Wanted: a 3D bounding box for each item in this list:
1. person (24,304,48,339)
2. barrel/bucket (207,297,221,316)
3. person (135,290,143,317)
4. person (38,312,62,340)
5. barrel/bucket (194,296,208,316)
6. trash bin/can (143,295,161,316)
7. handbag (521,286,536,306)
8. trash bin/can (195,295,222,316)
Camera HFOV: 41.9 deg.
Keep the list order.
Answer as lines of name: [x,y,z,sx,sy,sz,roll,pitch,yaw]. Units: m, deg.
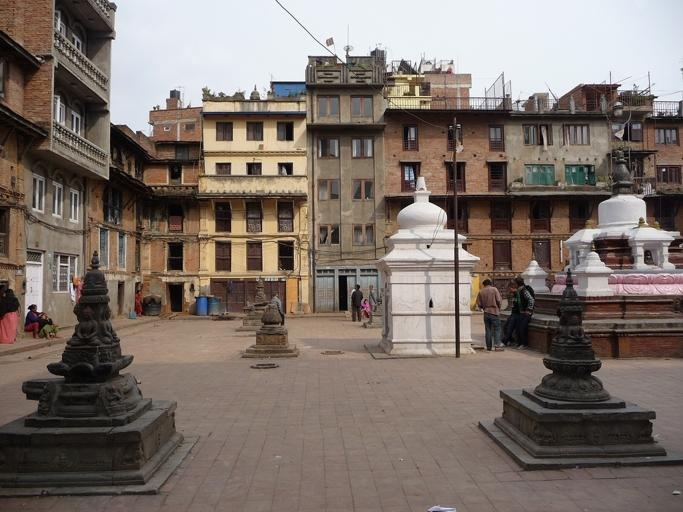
person: [-10.892,2.301,31.749,0.861,1.184,0.845,-1,-1,5]
barrel/bucket: [-6.857,2.661,46.849,0.820,0.925,0.833,-1,-7,0]
person: [-10.357,2.424,45.563,0.380,1.232,1.237,-1,-3,-13]
person: [-10.453,2.500,31.941,0.794,1.015,0.827,-4,-4,7]
barrel/bucket: [-7.281,2.606,46.416,0.800,1.083,0.813,0,-10,0]
trash bin/can: [-9.762,2.535,45.694,0.920,1.026,1.012,-1,-3,-14]
handbag: [5.710,1.181,27.087,0.206,0.561,0.425,-9,-32,10]
trash bin/can: [-6.976,2.603,46.573,1.014,0.666,1.025,-6,-6,44]
